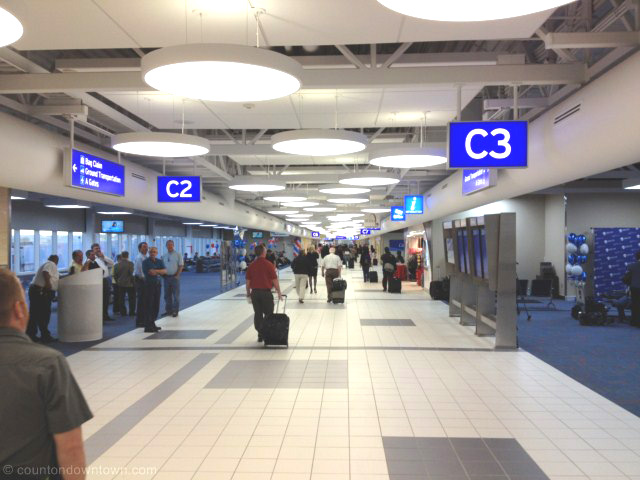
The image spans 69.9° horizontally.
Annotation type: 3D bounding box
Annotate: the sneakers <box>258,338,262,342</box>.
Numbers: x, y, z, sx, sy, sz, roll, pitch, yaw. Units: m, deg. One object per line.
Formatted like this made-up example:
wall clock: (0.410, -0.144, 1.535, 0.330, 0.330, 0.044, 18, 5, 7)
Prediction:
sneakers: (-1.225, 2.008, 9.281, 0.072, 0.115, 0.069, 8, 8, -1)

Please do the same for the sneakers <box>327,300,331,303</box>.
sneakers: (0.297, 2.058, 15.490, 0.106, 0.094, 0.125, 0, 0, 1)

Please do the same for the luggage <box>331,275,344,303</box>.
luggage: (0.567, 1.708, 15.261, 0.480, 0.793, 0.678, 0, 0, -1)

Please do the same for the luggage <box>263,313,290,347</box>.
luggage: (-0.852, 1.715, 8.958, 0.501, 0.689, 0.382, 2, 13, -8)

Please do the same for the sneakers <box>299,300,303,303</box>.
sneakers: (-0.638, 2.026, 15.369, 0.178, 0.173, 0.097, 0, -27, -1)

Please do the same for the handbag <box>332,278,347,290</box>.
handbag: (0.668, 1.437, 15.200, 0.445, 0.322, 0.494, 0, 2, -15)

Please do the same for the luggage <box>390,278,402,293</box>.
luggage: (3.059, 1.829, 18.587, 0.446, 0.756, 0.425, 3, 16, 6)

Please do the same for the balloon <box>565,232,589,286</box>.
balloon: (8.609, 0.624, 15.302, 0.593, 1.657, 0.760, 0, 1, 27)

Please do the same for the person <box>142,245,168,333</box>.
person: (-3.960, 1.135, 10.761, 0.516, 1.916, 1.439, 0, 1, -21)
